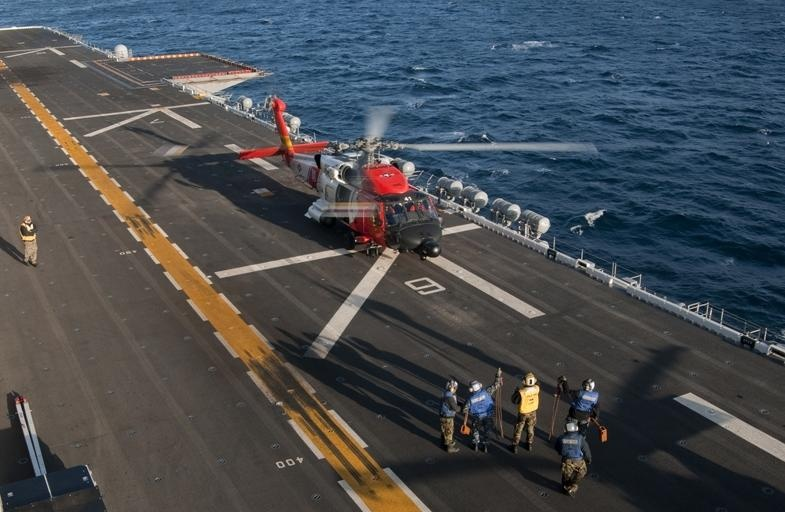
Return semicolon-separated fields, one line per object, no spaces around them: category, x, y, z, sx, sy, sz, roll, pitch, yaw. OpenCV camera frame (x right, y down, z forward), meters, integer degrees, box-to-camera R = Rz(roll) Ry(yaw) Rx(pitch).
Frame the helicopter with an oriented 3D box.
helicopter;-3.163;-4.392;48.736;17.036;16.534;4.974;-12;65;16

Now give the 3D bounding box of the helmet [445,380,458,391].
helmet;2.795;6.110;32.476;0.728;0.180;0.692;2;11;7
